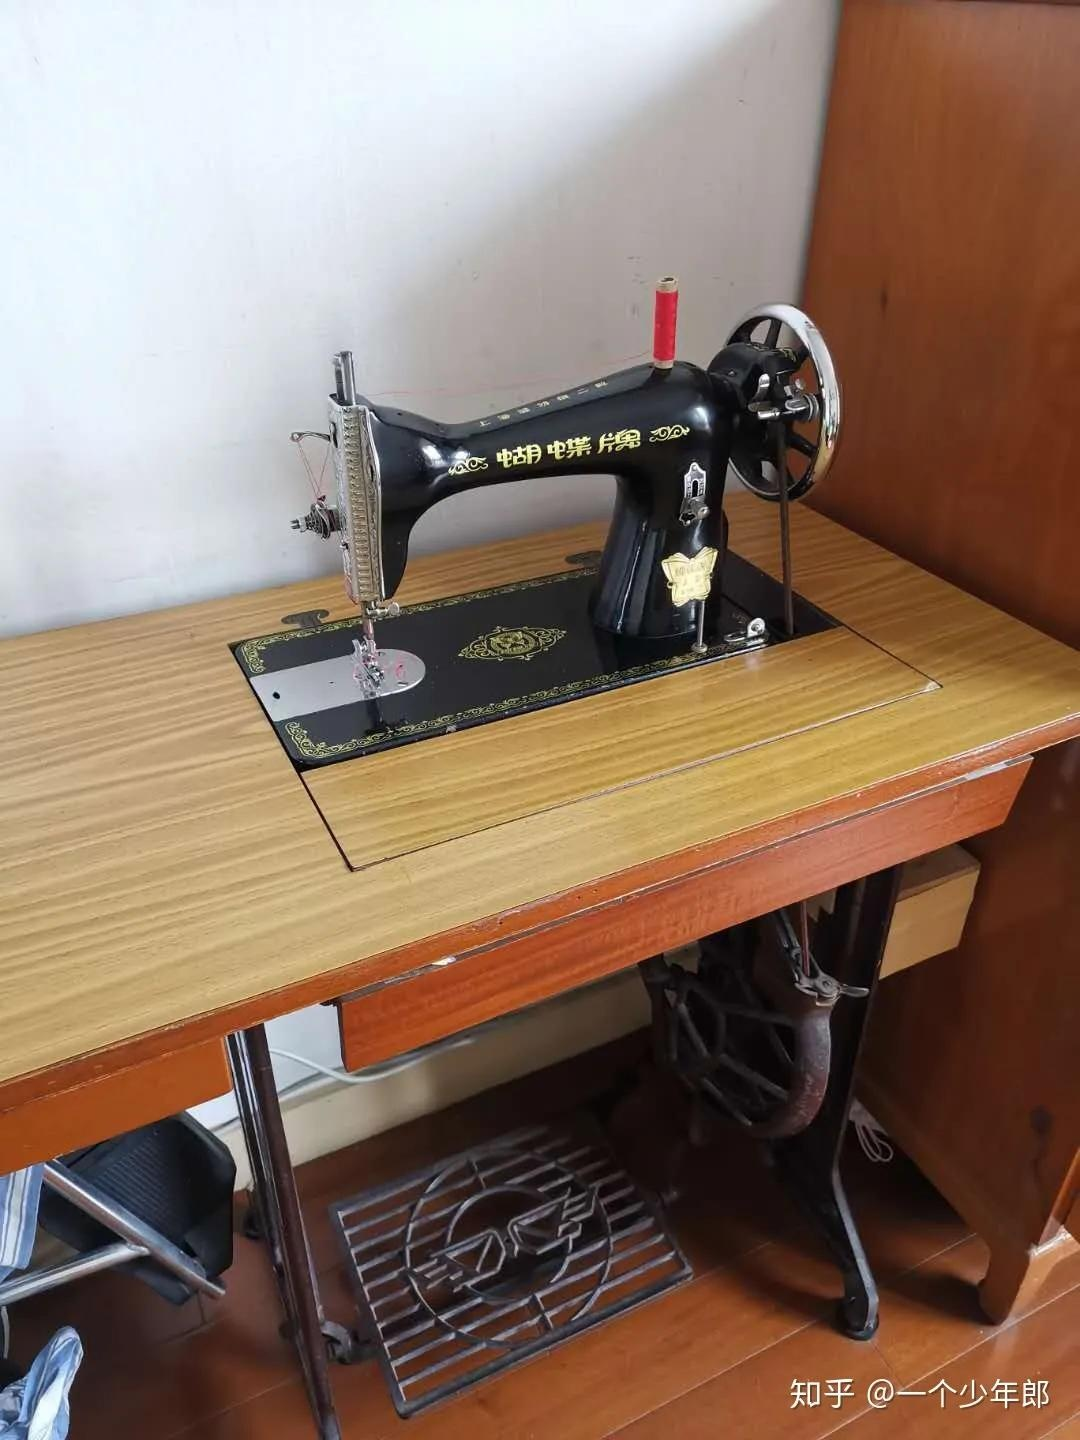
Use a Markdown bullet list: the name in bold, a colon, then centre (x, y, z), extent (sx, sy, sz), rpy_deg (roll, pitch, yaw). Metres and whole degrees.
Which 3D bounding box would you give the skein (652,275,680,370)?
- **skein**: centre (0.132, -0.424, 1.237), extent (0.028, 0.090, 0.030), rpy_deg (-14, 27, -32)

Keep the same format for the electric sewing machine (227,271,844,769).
- **electric sewing machine**: centre (-0.003, -0.238, 1.267), extent (0.679, 0.404, 0.237), rpy_deg (-15, 38, -24)
